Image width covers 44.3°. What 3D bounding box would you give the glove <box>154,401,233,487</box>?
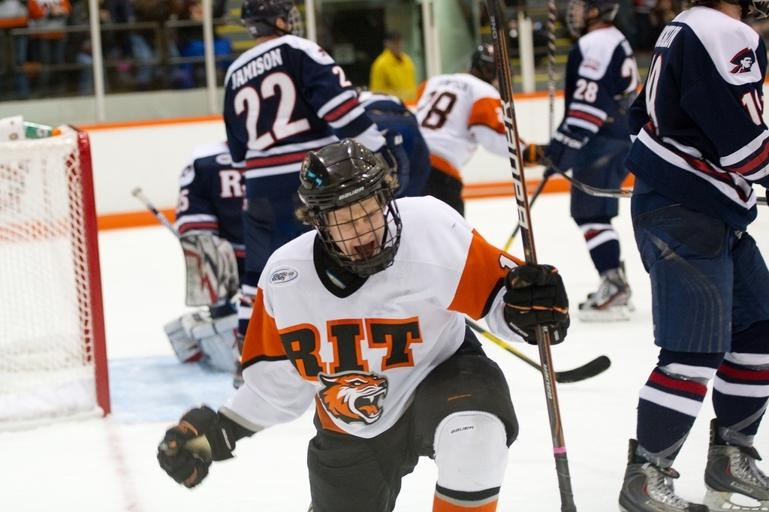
[{"bbox_3d":[-0.624,0.614,3.167,0.272,0.234,0.118,-40,13,-16],"label":"glove"}]

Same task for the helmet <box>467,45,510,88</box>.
[{"bbox_3d":[0.534,-1.024,5.099,0.143,0.231,0.199,-2,13,2],"label":"helmet"}]

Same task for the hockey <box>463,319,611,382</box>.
[{"bbox_3d":[0.619,0.398,3.861,0.140,0.110,0.926,-6,18,-28],"label":"hockey"}]

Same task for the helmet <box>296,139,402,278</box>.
[{"bbox_3d":[-0.132,-0.180,3.160,0.331,0.423,0.427,-20,23,-11],"label":"helmet"}]

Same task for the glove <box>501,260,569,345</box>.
[{"bbox_3d":[0.483,0.128,3.039,0.096,0.156,0.215,3,-6,40],"label":"glove"}]
